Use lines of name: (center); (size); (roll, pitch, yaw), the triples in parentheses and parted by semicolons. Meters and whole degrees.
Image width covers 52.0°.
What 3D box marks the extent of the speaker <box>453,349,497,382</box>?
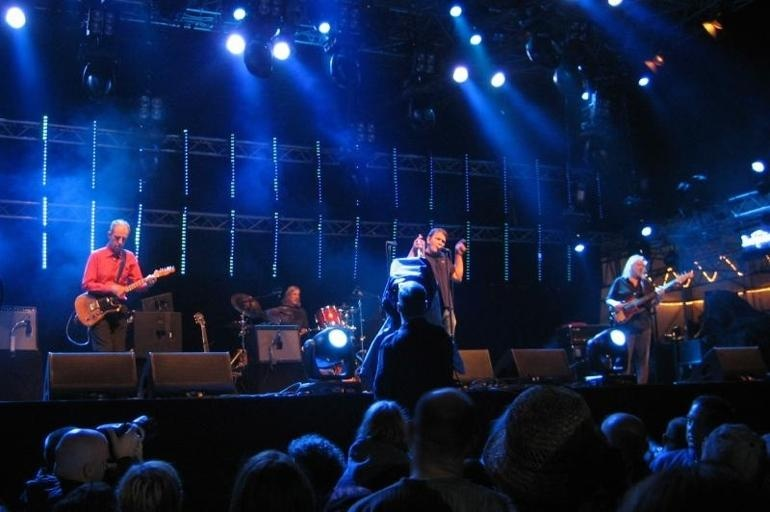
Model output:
speaker: (1.369, 1.688, 11.890); (0.482, 0.628, 0.521); (1, -38, -2)

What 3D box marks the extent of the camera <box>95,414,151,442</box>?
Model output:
camera: (-2.787, 1.809, 8.447); (0.471, 0.243, 0.346); (10, -18, -18)

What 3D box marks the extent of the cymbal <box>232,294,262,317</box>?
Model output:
cymbal: (-2.595, 0.899, 14.776); (0.553, 0.475, 0.300); (-1, -10, -11)

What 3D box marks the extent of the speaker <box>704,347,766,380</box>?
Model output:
speaker: (5.123, 1.540, 11.311); (0.573, 0.343, 0.545); (0, -5, -2)

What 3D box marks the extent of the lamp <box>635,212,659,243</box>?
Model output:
lamp: (5.470, -0.612, 16.408); (0.506, 0.517, 0.171); (5, -13, -37)

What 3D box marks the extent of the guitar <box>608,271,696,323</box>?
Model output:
guitar: (5.686, 0.815, 16.599); (1.761, 0.552, 0.250); (-29, -16, -10)

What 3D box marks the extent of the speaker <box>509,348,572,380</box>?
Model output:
speaker: (2.298, 1.590, 11.650); (0.718, 0.451, 0.511); (1, -15, -21)

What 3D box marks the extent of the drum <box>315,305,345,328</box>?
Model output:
drum: (-0.970, 1.063, 14.195); (0.477, 0.325, 0.457); (-6, -14, -2)

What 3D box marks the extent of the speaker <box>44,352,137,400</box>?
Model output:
speaker: (-3.850, 1.581, 10.302); (0.931, 0.631, 0.702); (2, -11, -16)

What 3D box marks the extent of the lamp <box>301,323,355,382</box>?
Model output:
lamp: (-0.714, 1.322, 10.890); (0.616, 0.736, 0.695); (-8, -11, 27)

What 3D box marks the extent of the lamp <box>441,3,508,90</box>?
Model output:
lamp: (1.632, -3.744, 14.600); (0.511, 0.564, 2.388); (-16, -39, 19)
